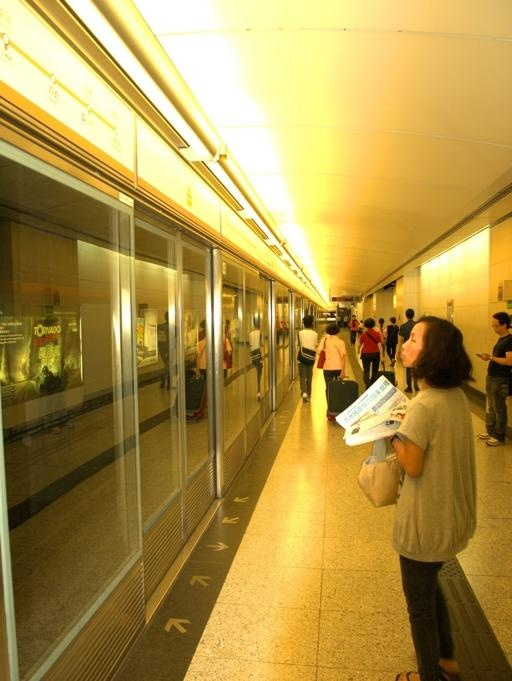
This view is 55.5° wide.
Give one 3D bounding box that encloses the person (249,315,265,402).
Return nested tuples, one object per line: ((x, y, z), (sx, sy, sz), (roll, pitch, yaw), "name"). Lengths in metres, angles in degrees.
((0.017, 0.257, 6.872), (0.269, 1.150, 0.289), (-5, -1, 26), "person")

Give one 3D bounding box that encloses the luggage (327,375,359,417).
((1.328, 0.879, 7.466), (0.446, 0.570, 0.368), (-1, 1, 7), "luggage")

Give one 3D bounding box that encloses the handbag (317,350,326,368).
((1.070, 0.306, 7.858), (0.085, 0.316, 0.235), (17, 28, 9), "handbag")

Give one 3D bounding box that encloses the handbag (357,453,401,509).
((0.437, 0.500, 1.775), (0.099, 0.209, 0.151), (-7, 1, 17), "handbag")

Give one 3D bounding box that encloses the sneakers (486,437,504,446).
((2.959, 1.232, 5.944), (0.247, 0.116, 0.092), (-2, 7, 12), "sneakers")

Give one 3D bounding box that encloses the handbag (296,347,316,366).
((0.974, 0.308, 9.273), (0.338, 0.379, 0.181), (5, 14, 17), "handbag")
